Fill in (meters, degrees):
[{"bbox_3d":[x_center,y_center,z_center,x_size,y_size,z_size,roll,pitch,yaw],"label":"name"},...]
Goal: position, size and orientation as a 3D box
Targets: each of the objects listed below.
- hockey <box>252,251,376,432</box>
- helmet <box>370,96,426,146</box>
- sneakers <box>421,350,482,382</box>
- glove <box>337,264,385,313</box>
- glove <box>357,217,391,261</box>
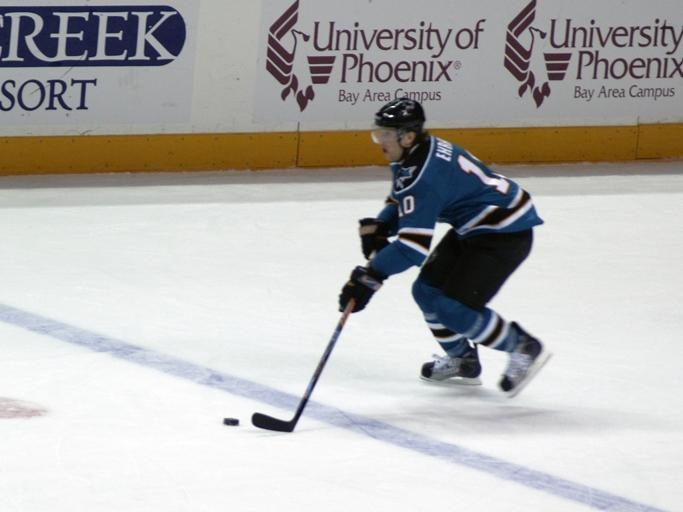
[{"bbox_3d":[-0.094,0.393,3.694,0.190,0.038,0.859,15,49,20],"label":"hockey"},{"bbox_3d":[0.241,-0.567,3.886,0.266,0.240,0.212,-15,18,-30],"label":"helmet"},{"bbox_3d":[0.503,0.505,4.105,0.314,0.171,0.137,-1,12,15],"label":"sneakers"},{"bbox_3d":[0.087,0.142,3.866,0.138,0.228,0.096,41,5,0],"label":"glove"},{"bbox_3d":[0.144,-0.083,4.123,0.153,0.158,0.184,-12,-4,-3],"label":"glove"}]
